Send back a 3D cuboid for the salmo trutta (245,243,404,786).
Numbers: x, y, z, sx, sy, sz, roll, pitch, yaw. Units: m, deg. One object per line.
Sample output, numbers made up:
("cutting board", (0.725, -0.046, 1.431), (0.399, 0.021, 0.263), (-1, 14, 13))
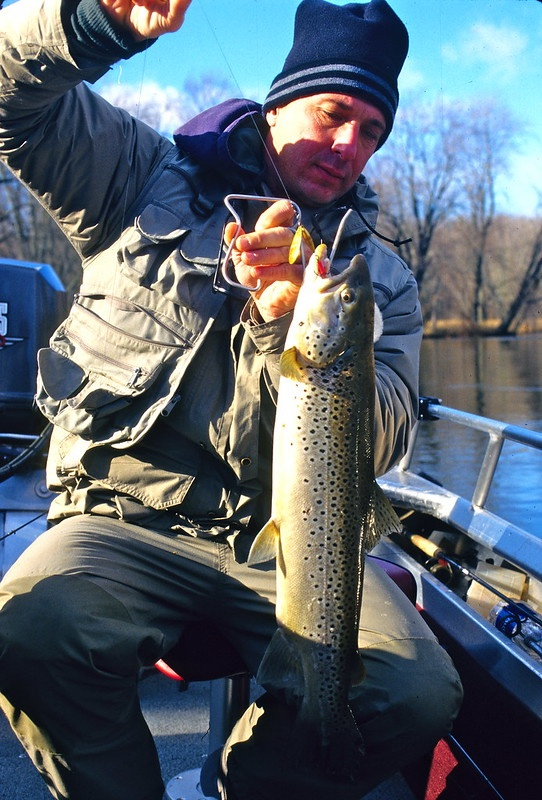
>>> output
("salmo trutta", (0.144, 0.262, 1.835), (0.355, 1.214, 0.235), (10, 8, 6))
